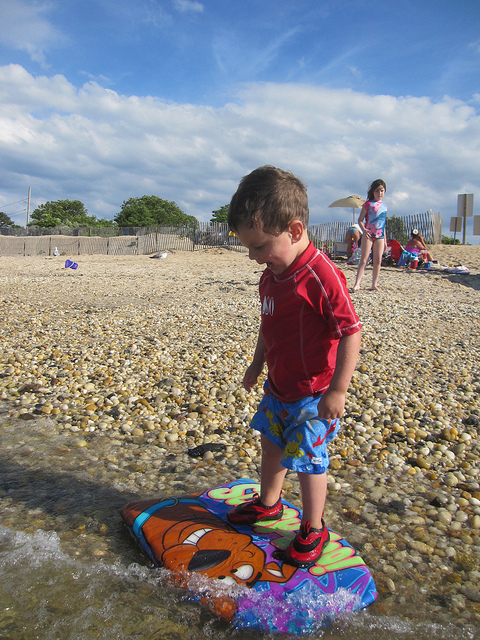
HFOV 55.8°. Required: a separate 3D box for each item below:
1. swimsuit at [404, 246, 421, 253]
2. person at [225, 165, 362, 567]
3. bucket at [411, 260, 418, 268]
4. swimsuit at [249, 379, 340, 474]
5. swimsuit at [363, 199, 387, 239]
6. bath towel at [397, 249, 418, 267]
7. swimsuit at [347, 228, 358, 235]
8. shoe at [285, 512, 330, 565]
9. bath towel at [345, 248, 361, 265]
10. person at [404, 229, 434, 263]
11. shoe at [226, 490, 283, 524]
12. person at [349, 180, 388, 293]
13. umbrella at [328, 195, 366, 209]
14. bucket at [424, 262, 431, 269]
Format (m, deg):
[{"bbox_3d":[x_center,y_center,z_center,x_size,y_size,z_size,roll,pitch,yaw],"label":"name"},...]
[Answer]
[{"bbox_3d":[4.106,-1.668,10.792,0.354,0.147,0.376,7,10,19],"label":"swimsuit"},{"bbox_3d":[0.198,0.176,1.795,0.531,1.528,0.385,7,10,20],"label":"person"},{"bbox_3d":[4.032,-1.292,10.522,0.160,0.163,0.146,1,10,0],"label":"bucket"},{"bbox_3d":[0.234,0.370,1.812,0.221,0.363,0.390,-1,13,-34],"label":"swimsuit"},{"bbox_3d":[2.054,-1.534,6.923,0.421,0.578,0.302,3,10,-1],"label":"swimsuit"},{"bbox_3d":[4.004,-1.469,10.816,0.318,0.409,0.245,37,36,29],"label":"bath towel"},{"bbox_3d":[2.914,-2.284,11.747,0.193,0.145,0.263,4,11,8],"label":"swimsuit"},{"bbox_3d":[0.279,0.879,1.813,0.132,0.110,0.259,-2,9,35],"label":"shoe"},{"bbox_3d":[2.813,-1.563,11.189,0.249,0.419,0.845,5,9,9],"label":"bath towel"},{"bbox_3d":[4.506,-1.880,11.431,0.592,0.836,1.946,7,10,20],"label":"person"},{"bbox_3d":[0.063,0.862,2.073,0.268,0.121,0.097,0,2,-4],"label":"shoe"},{"bbox_3d":[2.025,-1.325,7.027,0.653,1.674,0.501,-1,8,-17],"label":"person"},{"bbox_3d":[3.957,-4.224,16.226,0.652,0.446,1.350,-2,11,-32],"label":"umbrella"},{"bbox_3d":[4.356,-1.251,10.541,0.084,0.147,0.204,-1,10,-25],"label":"bucket"}]
